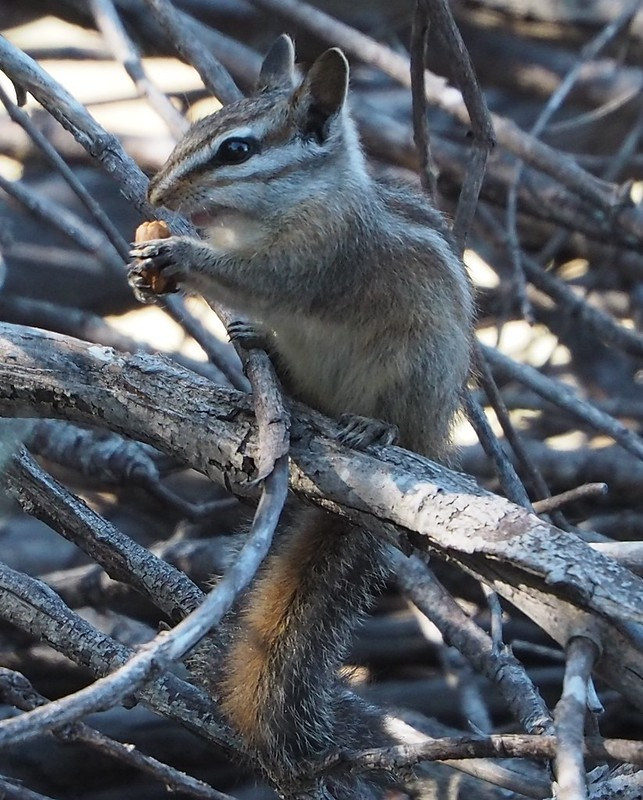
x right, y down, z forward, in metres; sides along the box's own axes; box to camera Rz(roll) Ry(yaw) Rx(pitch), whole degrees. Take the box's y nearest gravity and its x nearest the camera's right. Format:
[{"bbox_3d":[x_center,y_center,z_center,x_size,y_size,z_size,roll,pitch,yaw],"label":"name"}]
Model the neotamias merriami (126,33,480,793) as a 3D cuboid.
[{"bbox_3d":[-0.136,0.100,2.933,1.162,2.219,0.920,13,31,34],"label":"neotamias merriami"}]
